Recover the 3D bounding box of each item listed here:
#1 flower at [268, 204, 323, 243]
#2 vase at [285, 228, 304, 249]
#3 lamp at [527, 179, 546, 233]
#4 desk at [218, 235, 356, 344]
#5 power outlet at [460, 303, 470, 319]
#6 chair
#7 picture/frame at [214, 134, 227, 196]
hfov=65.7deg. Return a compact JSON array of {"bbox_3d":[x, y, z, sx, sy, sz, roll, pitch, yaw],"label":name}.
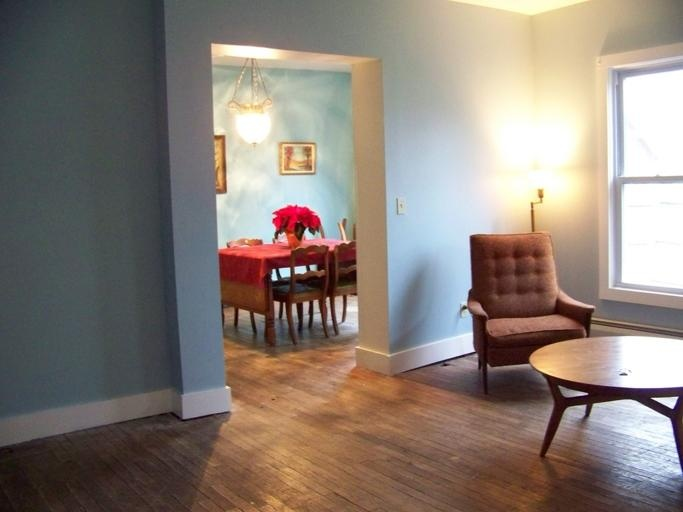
[{"bbox_3d":[-0.493,-0.365,5.946,0.498,0.420,0.539,6,12,31],"label":"flower"},{"bbox_3d":[-0.513,-0.184,5.788,0.207,0.230,0.214,-2,0,7],"label":"vase"},{"bbox_3d":[1.974,-0.476,5.365,0.145,0.471,0.211,2,10,21],"label":"lamp"},{"bbox_3d":[-0.609,0.355,5.849,1.428,1.020,0.998,-4,9,-14],"label":"desk"},{"bbox_3d":[1.136,0.513,4.923,0.022,0.178,0.176,5,7,44],"label":"power outlet"},{"bbox_3d":[-0.666,0.347,5.856,1.081,0.827,1.241,1,1,42],"label":"chair"},{"bbox_3d":[-1.720,-1.301,7.508,0.203,0.836,0.102,-9,12,-36],"label":"picture/frame"}]
